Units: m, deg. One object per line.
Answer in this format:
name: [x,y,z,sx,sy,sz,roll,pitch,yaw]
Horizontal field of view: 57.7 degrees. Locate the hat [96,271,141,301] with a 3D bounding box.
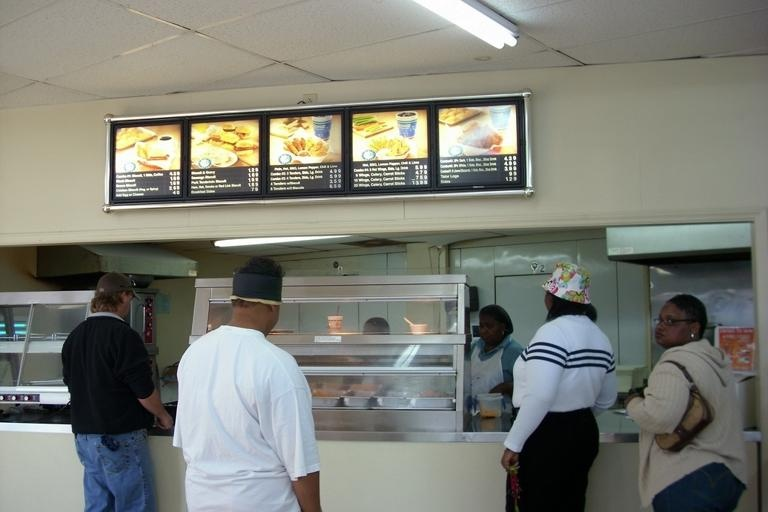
hat: [-1.775,0.184,4.683,0.162,0.114,0.215,-2,-1,26]

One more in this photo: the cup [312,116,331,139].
cup: [-0.402,-0.845,4.671,0.144,0.137,0.140,-2,0,0]

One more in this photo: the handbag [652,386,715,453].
handbag: [1.595,0.846,3.698,0.246,0.256,0.175,-36,21,22]

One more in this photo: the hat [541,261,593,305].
hat: [1.061,0.154,4.143,0.260,0.140,0.240,20,9,42]

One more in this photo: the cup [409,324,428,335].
cup: [0.224,0.469,4.509,0.079,0.035,0.074,0,-19,0]
